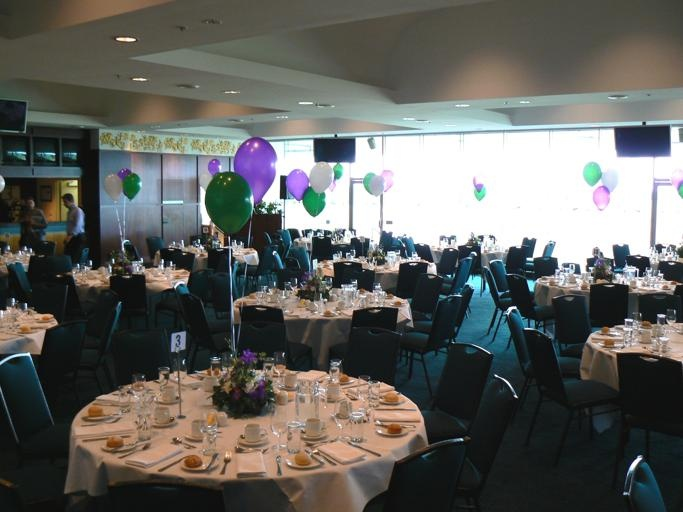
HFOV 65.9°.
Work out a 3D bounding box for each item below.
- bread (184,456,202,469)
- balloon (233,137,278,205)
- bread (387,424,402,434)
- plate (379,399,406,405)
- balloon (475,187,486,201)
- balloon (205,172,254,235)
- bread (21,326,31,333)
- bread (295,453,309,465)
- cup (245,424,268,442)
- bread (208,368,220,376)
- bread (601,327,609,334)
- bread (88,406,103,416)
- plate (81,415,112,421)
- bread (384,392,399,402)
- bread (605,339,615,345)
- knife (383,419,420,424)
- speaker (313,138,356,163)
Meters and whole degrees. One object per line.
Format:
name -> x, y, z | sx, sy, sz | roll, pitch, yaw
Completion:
bread -> -0.900, 1.238, 3.192 | 0.104, 0.060, 0.062 | -1, 10, -14
balloon -> -0.864, -0.871, 5.414 | 0.401, 0.750, 0.424 | -6, 9, -19
bread -> 0.353, 1.165, 3.570 | 0.059, 0.038, 0.063 | 3, 1, 16
plate -> 0.385, 1.102, 4.000 | 0.190, 0.025, 0.077 | 1, 10, 0
balloon -> 3.664, -1.675, 14.120 | 0.323, 0.319, 0.286 | 6, 11, 28
balloon -> -0.985, -0.459, 4.623 | 0.426, 0.604, 0.448 | 5, 4, 29
bread -> -3.280, 0.752, 5.487 | 0.075, 0.028, 0.081 | -2, 2, 16
bread -> -0.241, 1.237, 3.239 | 0.102, 0.063, 0.073 | 0, 10, -5
cup -> -0.564, 1.155, 3.483 | 0.081, 0.097, 0.134 | -3, -5, 34
bread -> -1.017, 0.910, 4.183 | 0.074, 0.064, 0.081 | 1, 0, 8
bread -> 2.701, 0.760, 5.434 | 0.057, 0.065, 0.062 | -1, 1, 2
bread -> -1.745, 1.097, 3.750 | 0.067, 0.049, 0.074 | 5, 3, -7
plate -> -1.726, 1.138, 3.709 | 0.123, 0.022, 0.077 | 4, -7, -15
bread -> 0.378, 1.069, 4.024 | 0.066, 0.037, 0.072 | 1, -1, -4
bread -> 2.606, 0.832, 5.132 | 0.060, 0.065, 0.064 | -1, 3, 13
knife -> 0.420, 1.155, 3.710 | 0.275, 0.022, 0.038 | 1, 10, -1
speaker -> -0.193, -2.829, 14.033 | 1.061, 0.645, 0.477 | 3, 10, 12
